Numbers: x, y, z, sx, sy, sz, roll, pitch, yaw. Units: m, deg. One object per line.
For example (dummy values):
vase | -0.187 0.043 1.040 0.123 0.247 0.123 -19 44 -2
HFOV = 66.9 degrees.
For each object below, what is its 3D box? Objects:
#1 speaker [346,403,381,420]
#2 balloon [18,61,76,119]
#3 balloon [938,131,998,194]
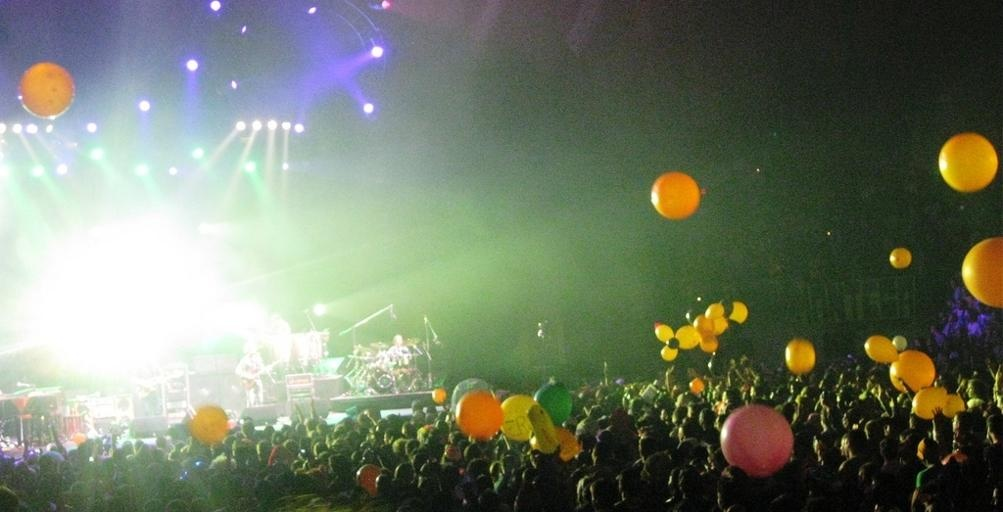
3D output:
speaker | -2.767 3.227 15.517 0.620 0.156 0.655 5 -9 -37
balloon | -8.425 -3.089 14.042 0.838 0.617 0.886 29 -50 -22
balloon | 8.151 -1.596 13.408 0.748 1.010 1.206 1 -90 6
